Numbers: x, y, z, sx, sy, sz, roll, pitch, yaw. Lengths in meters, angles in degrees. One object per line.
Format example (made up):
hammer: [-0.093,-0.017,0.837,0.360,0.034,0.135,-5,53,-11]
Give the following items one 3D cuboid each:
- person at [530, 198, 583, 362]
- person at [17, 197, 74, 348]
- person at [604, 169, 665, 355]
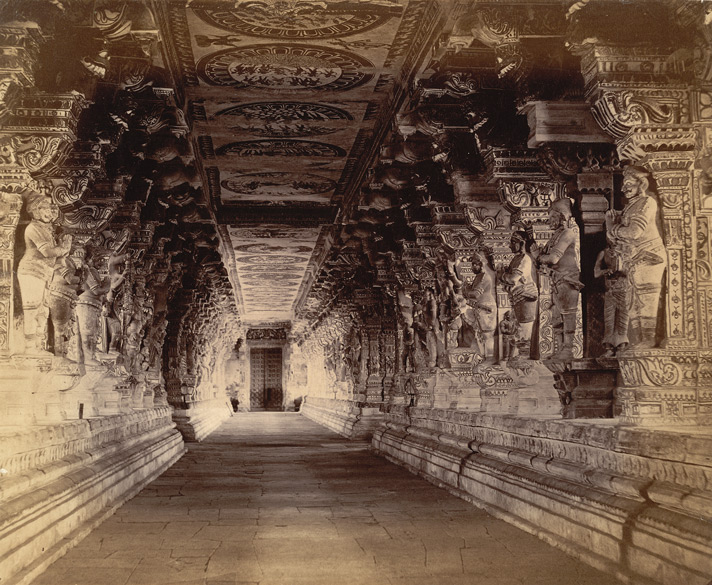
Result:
person: [1.766,-0.118,5.968,0.366,1.351,0.553,-5,-13,14]
person: [-2.331,-0.125,5.169,0.358,1.127,0.566,4,-13,-22]
person: [1.774,-0.216,4.330,0.278,1.165,0.420,-4,-13,9]
